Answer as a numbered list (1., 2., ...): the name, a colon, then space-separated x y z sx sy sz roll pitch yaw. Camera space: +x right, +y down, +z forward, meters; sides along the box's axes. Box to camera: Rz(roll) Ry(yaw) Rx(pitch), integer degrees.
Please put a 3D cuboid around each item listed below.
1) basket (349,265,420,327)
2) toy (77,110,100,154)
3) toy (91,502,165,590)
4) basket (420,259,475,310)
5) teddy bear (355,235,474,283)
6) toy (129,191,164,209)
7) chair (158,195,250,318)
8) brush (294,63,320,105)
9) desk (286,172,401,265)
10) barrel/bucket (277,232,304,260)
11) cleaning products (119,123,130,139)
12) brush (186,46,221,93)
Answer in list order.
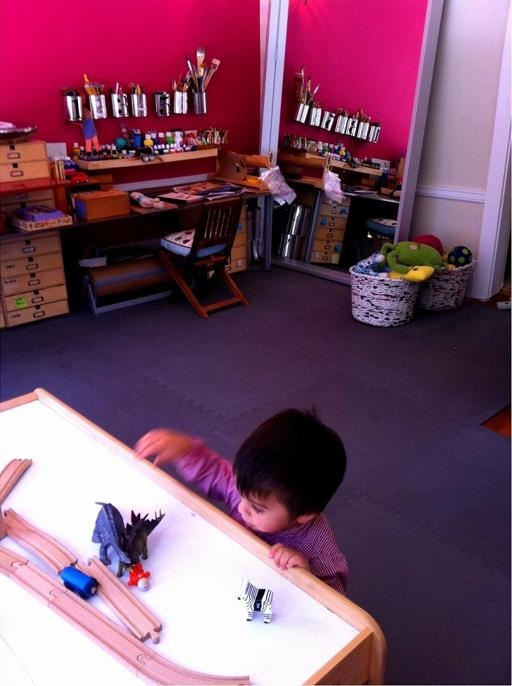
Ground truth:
1. basket: 1.042 -0.356 3.935 0.492 0.363 0.500 8 25 11
2. toy: -1.371 -1.749 3.954 0.144 0.348 0.225 2 11 -18
3. toy: -0.204 0.307 0.730 0.057 0.064 0.157 0 21 -17
4. basket: 1.688 -0.445 4.300 0.396 0.271 0.387 2 19 33
5. teddy bear: 1.343 -0.669 3.906 0.708 0.272 0.541 -7 15 -18
6. toy: -0.933 -1.215 4.073 0.286 0.135 0.270 3 11 -16
7. chair: -0.458 -0.735 4.172 0.557 0.982 0.878 -25 48 -30
8. brush: 0.517 -2.596 4.716 0.263 0.350 0.122 30 56 28
9. desk: 0.877 -1.220 4.900 1.401 1.007 0.804 -9 27 -28
10. barrel/bucket: 0.370 -1.071 5.280 0.260 0.303 0.263 6 14 -1
11. cleaning products: -1.160 -1.854 4.184 0.085 0.147 0.038 -5 9 -6
12. brush: -0.529 -2.629 4.588 0.324 0.406 0.102 -1 12 -33
